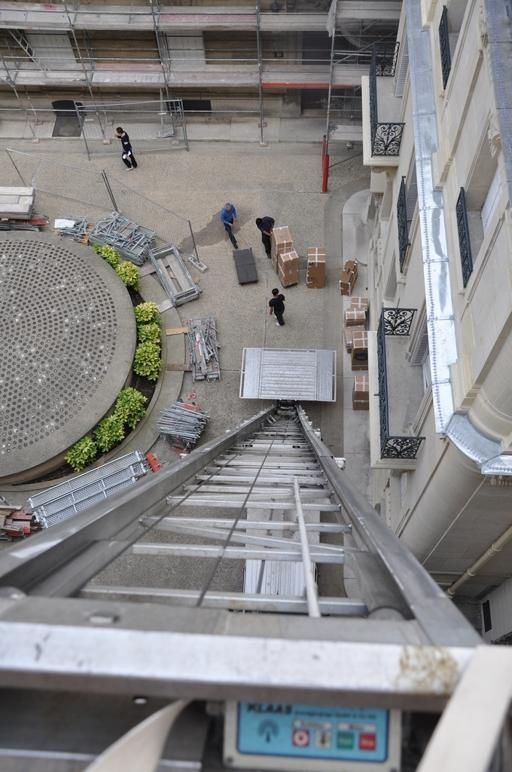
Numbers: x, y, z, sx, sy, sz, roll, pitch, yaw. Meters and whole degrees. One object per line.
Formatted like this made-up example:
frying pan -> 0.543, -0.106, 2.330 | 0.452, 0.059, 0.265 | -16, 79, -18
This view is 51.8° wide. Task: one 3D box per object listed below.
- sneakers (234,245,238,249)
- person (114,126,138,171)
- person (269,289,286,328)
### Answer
sneakers -> -0.673, -4.883, 18.682 | 0.094, 0.097, 0.178 | 0, 39, -5
person -> -5.077, -9.204, 20.625 | 0.844, 2.139, 0.996 | 0, 87, -8
person -> 0.658, -2.606, 16.541 | 0.455, 1.915, 0.774 | -8, 56, 2
